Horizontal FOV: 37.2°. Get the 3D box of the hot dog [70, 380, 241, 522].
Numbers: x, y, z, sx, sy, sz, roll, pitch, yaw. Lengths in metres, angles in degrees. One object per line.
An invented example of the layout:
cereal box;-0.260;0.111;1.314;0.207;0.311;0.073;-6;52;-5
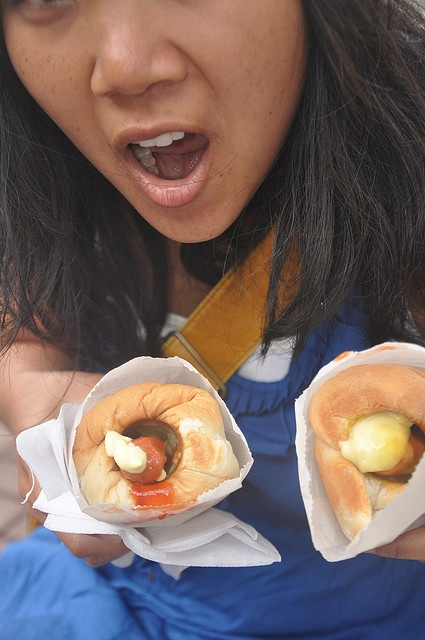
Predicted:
hot dog;-0.083;0.165;0.842;0.208;0.062;0.193;-14;53;-11
